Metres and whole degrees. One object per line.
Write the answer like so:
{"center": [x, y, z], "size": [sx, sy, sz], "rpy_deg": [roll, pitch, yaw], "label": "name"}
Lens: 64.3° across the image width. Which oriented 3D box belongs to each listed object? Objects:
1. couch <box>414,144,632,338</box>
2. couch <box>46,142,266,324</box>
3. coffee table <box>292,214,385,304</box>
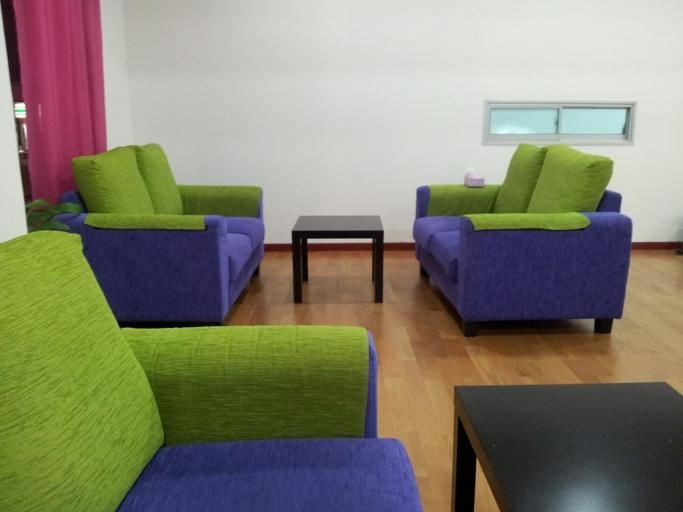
{"center": [1.123, -0.182, 3.582], "size": [1.045, 1.079, 1.214], "rpy_deg": [1, 22, -3], "label": "couch"}
{"center": [-1.143, -0.203, 3.773], "size": [1.015, 1.001, 1.597], "rpy_deg": [1, 15, 2], "label": "couch"}
{"center": [-0.022, -0.045, 4.017], "size": [0.633, 0.490, 0.661], "rpy_deg": [0, 9, 2], "label": "coffee table"}
